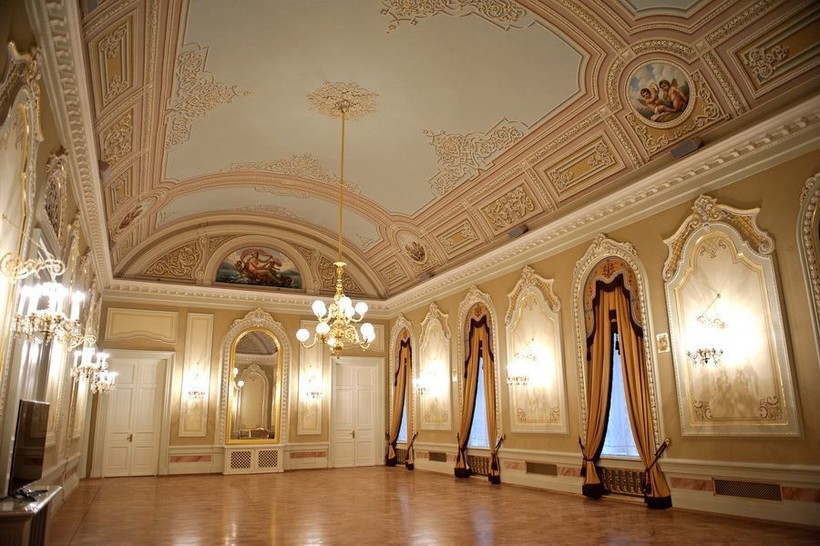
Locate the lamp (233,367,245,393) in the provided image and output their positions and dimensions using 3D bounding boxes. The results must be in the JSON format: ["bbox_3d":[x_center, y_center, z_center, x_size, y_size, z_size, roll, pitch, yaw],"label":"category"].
[{"bbox_3d":[-5.152,3.211,14.473,0.284,0.713,0.255,1,-21,-44],"label":"lamp"}]

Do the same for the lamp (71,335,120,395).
[{"bbox_3d":[-7.533,2.192,11.669,0.596,1.308,3.646,6,-16,-27],"label":"lamp"}]
